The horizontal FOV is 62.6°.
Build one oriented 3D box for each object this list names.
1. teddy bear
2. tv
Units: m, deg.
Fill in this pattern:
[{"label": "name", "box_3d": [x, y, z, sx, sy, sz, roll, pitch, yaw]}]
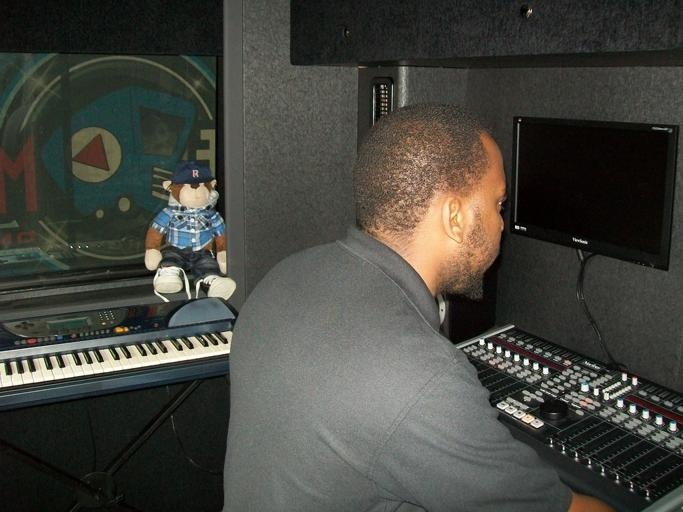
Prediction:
[{"label": "teddy bear", "box_3d": [-0.663, -0.133, 2.508, 0.371, 0.570, 0.403, 0, 21, -23]}, {"label": "tv", "box_3d": [0.831, -0.221, 1.821, 0.047, 0.378, 0.494, -12, 20, -32]}]
